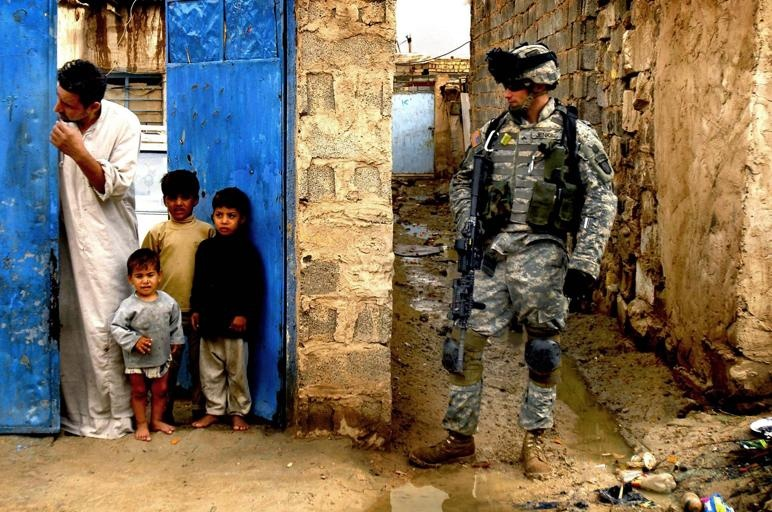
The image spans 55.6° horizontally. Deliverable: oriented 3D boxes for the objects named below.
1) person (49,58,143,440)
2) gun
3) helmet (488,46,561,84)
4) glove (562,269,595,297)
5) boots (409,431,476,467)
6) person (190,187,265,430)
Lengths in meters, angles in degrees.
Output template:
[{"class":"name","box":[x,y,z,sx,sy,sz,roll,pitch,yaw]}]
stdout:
[{"class":"person","box":[-1.928,-0.018,4.891,0.588,2.494,0.412,-2,10,-17]},{"class":"gun","box":[0.561,-0.104,4.820,0.207,1.146,0.436,2,10,9]},{"class":"helmet","box":[0.889,-1.248,4.786,0.391,0.231,0.274,-6,21,-12]},{"class":"glove","box":[1.211,0.178,4.680,0.155,0.221,0.240,0,9,-3]},{"class":"boots","box":[0.370,1.279,4.915,0.506,0.228,0.179,0,12,-8]},{"class":"person","box":[-1.131,0.376,5.209,0.533,1.686,0.428,-2,10,-14]}]
